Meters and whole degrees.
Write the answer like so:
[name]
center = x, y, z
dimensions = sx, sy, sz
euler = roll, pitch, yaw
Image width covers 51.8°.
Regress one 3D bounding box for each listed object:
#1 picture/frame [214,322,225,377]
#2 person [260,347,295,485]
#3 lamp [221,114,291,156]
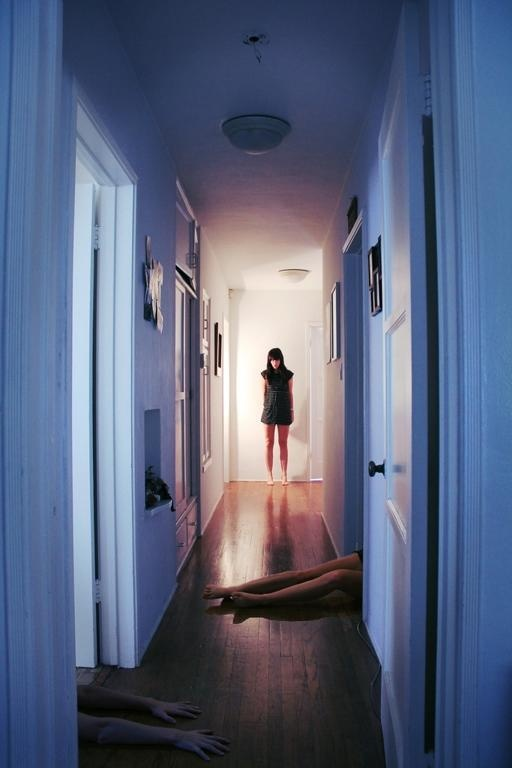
[picture/frame]
center = -0.352, -0.368, 5.607
dimensions = 0.016, 0.590, 0.616
euler = 0, 2, -20
[person]
center = 0.284, 0.451, 7.247
dimensions = 0.401, 1.863, 0.404
euler = 0, -2, 5
[lamp]
center = 0.000, -1.319, 2.768
dimensions = 0.367, 0.118, 0.221
euler = 0, -3, 2
